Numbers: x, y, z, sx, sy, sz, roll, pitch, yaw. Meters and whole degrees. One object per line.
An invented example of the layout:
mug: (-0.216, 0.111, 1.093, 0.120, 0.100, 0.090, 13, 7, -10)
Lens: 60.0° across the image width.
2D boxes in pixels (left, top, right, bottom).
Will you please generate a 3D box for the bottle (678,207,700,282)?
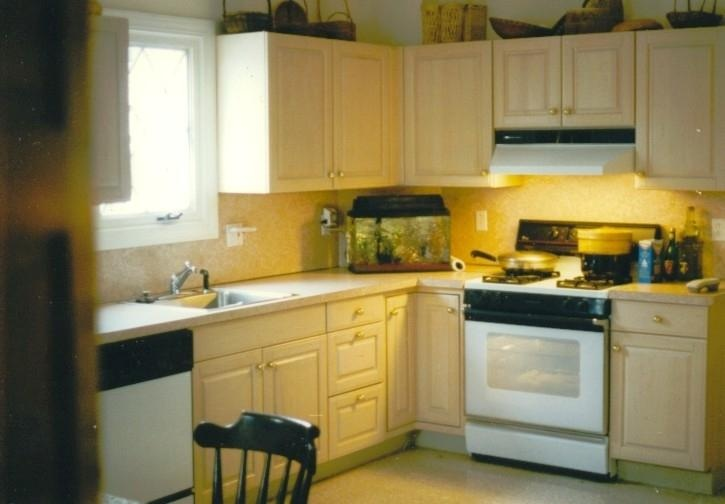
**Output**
bottle: (1.706, -0.050, 3.272, 0.129, 0.375, 0.076, -1, 7, -2)

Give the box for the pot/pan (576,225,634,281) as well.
pot/pan: (1.270, -0.003, 3.348, 0.280, 0.256, 0.271, -3, 4, -30)

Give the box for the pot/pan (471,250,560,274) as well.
pot/pan: (0.847, 0.046, 3.393, 0.308, 0.086, 0.193, 1, 0, 7)

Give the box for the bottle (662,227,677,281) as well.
bottle: (1.617, 0.006, 3.284, 0.074, 0.254, 0.180, 3, 8, 26)

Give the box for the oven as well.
oven: (1.029, 0.623, 3.380, 0.785, 0.934, 0.667, -1, -2, 37)

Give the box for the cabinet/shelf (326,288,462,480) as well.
cabinet/shelf: (0.298, 0.601, 3.387, 0.474, 0.789, 0.243, -1, 7, 0)

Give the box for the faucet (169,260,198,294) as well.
faucet: (-0.871, 0.116, 3.022, 0.127, 0.133, 0.205, -3, 8, -15)
